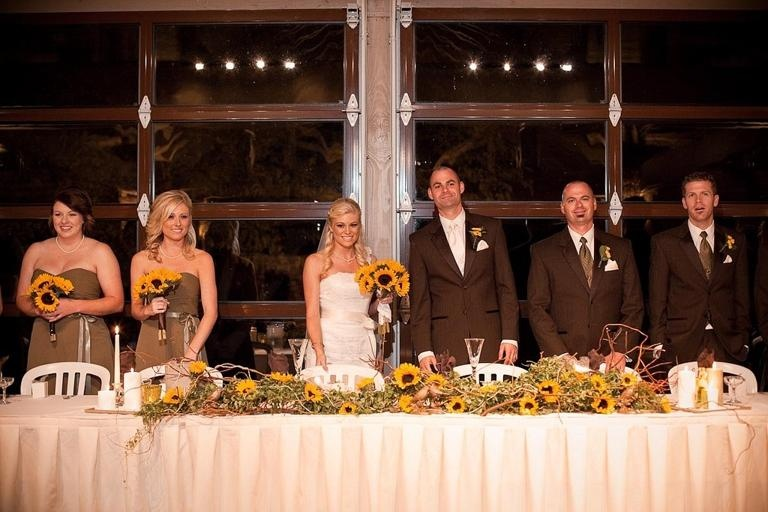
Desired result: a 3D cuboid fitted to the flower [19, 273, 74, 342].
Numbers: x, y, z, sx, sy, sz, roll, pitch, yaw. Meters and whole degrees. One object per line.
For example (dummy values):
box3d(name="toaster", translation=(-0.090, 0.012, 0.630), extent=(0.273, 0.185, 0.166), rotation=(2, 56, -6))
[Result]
box3d(name="flower", translation=(-2.715, 0.335, 8.078), extent=(0.303, 0.249, 0.388), rotation=(7, -6, 0))

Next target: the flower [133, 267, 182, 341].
box3d(name="flower", translation=(-1.835, 0.400, 8.112), extent=(0.473, 0.623, 0.415), rotation=(-8, -11, 27))

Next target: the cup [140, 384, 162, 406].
box3d(name="cup", translation=(-1.615, 0.970, 6.893), extent=(0.126, 0.111, 0.146), rotation=(-1, -12, 4))

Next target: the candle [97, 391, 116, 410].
box3d(name="candle", translation=(-1.941, 1.003, 6.969), extent=(0.122, 0.137, 0.123), rotation=(0, 2, -18))

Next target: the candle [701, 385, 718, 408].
box3d(name="candle", translation=(2.305, 0.996, 6.982), extent=(0.114, 0.134, 0.122), rotation=(-1, 0, 1))

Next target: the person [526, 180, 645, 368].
box3d(name="person", translation=(1.704, 0.111, 8.441), extent=(0.942, 1.458, 0.277), rotation=(-1, -6, -2))

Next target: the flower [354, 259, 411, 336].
box3d(name="flower", translation=(0.034, 0.263, 7.770), extent=(0.309, 0.445, 0.228), rotation=(0, -1, 27))
